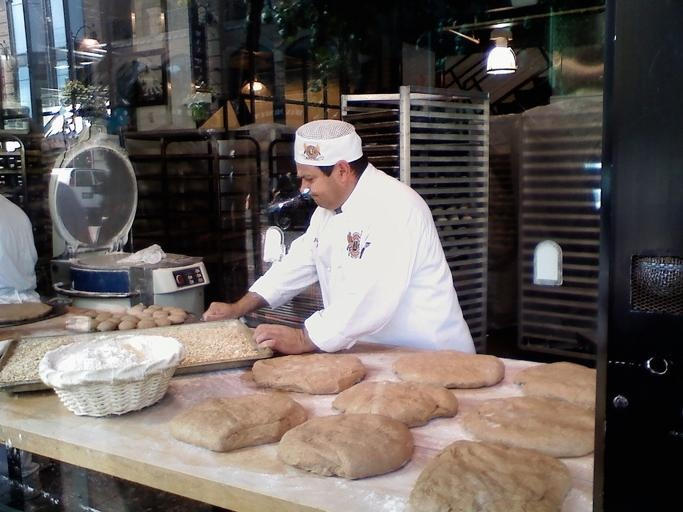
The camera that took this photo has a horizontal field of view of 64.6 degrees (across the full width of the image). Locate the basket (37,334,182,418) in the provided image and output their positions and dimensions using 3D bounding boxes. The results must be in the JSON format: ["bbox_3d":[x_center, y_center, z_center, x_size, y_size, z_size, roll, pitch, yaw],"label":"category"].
[{"bbox_3d":[-0.630,0.321,1.492,0.344,0.174,0.327,-8,12,-28],"label":"basket"}]

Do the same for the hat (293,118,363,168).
[{"bbox_3d":[-0.062,-0.444,2.127,0.220,0.101,0.216,9,19,34],"label":"hat"}]

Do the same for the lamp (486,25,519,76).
[{"bbox_3d":[1.541,-1.990,5.182,0.253,0.402,0.340,0,12,14],"label":"lamp"}]

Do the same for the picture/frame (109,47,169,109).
[{"bbox_3d":[-1.680,-1.472,4.422,0.064,0.508,0.646,9,14,32],"label":"picture/frame"}]

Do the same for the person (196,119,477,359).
[{"bbox_3d":[0.009,-0.020,2.802,1.393,1.508,0.827,-2,-2,-12],"label":"person"}]
